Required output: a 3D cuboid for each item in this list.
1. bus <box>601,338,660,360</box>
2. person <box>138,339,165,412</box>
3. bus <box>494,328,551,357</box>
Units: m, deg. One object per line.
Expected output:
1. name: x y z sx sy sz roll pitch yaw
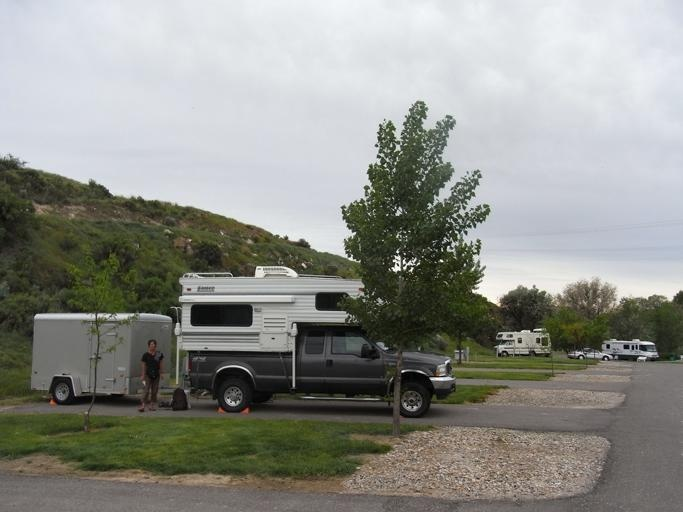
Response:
1. bus: 28.006 9.126 64.177 4.060 2.000 2.525 -1 -3 18
2. person: -5.699 3.560 19.732 0.638 2.081 1.103 1 -1 -18
3. bus: 17.154 8.347 62.408 4.917 2.902 2.850 2 -7 1
